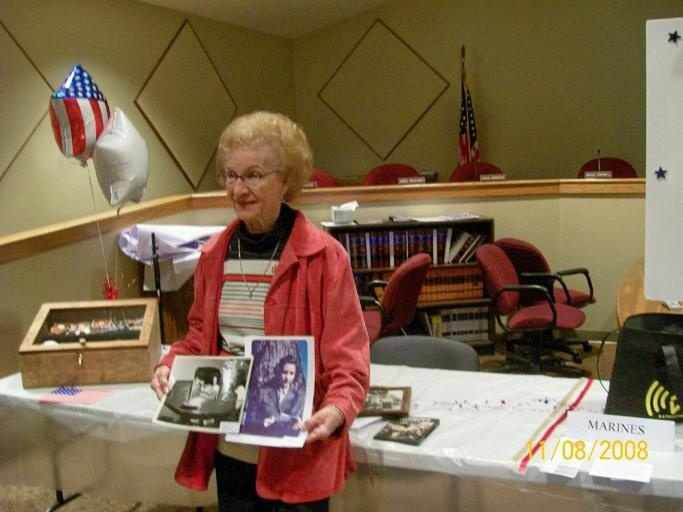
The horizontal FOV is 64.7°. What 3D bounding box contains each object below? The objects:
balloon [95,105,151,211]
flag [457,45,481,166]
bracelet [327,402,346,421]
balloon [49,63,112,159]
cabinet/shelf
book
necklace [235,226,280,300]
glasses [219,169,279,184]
[{"bbox_3d":[-1.142,-0.538,2.864,0.199,0.493,0.385,5,24,2],"label":"balloon"},{"bbox_3d":[1.628,-1.940,6.862,0.286,1.487,1.298,1,13,14],"label":"flag"},{"bbox_3d":[-0.010,0.449,1.552,0.016,0.042,0.037,-33,-9,-17],"label":"bracelet"},{"bbox_3d":[-1.341,-0.728,2.786,0.280,0.496,0.219,-8,14,-27],"label":"balloon"},{"bbox_3d":[0.498,0.162,3.720,0.940,1.002,0.359,-2,3,-5],"label":"cabinet/shelf"},{"bbox_3d":[0.558,0.174,3.956,0.793,0.798,0.287,-1,2,-9],"label":"book"},{"bbox_3d":[-0.280,0.027,1.722,0.155,0.185,0.040,7,2,10],"label":"necklace"},{"bbox_3d":[-0.292,-0.243,1.676,0.183,0.040,0.064,1,13,16],"label":"glasses"}]
